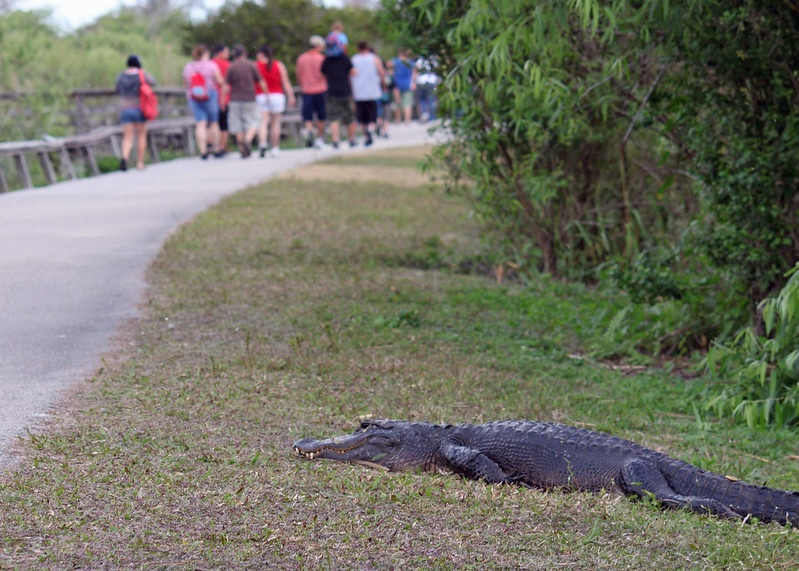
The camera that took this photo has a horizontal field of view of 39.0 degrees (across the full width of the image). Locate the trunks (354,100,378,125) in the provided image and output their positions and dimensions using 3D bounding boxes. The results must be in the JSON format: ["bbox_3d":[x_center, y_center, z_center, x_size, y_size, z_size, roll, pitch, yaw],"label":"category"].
[{"bbox_3d":[-0.283,-1.438,9.408,0.136,0.233,0.086,-2,43,-4],"label":"trunks"}]

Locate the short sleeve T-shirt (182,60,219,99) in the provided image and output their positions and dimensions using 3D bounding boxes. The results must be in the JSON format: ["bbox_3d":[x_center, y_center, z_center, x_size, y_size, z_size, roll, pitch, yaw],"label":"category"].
[{"bbox_3d":[-1.562,-1.626,9.106,0.214,0.324,0.154,-5,-18,8],"label":"short sleeve T-shirt"}]

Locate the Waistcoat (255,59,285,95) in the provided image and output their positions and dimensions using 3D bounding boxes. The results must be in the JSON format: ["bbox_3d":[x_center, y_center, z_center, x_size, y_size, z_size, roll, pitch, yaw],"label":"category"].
[{"bbox_3d":[-1.048,-1.661,9.309,0.246,0.437,0.204,-4,3,-12],"label":"Waistcoat"}]

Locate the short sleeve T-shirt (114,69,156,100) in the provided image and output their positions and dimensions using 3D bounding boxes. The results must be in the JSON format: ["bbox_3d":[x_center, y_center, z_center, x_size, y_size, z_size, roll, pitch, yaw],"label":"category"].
[{"bbox_3d":[-2.048,-1.547,8.800,0.217,0.254,0.133,18,-9,-42],"label":"short sleeve T-shirt"}]

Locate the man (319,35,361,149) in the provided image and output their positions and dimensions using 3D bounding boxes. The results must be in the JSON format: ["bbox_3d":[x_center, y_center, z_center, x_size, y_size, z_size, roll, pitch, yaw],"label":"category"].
[{"bbox_3d":[-0.454,-1.550,9.375,0.226,0.949,0.267,-10,-15,25],"label":"man"}]

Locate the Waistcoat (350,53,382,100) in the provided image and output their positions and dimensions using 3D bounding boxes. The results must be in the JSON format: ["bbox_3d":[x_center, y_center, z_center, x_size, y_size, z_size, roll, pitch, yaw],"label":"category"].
[{"bbox_3d":[-0.268,-1.685,9.375,0.259,0.488,0.230,-2,-19,0],"label":"Waistcoat"}]

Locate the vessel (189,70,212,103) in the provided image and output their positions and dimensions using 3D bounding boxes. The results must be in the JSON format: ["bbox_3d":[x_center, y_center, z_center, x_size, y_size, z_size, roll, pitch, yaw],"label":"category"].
[{"bbox_3d":[-1.607,-1.580,8.999,0.115,0.226,0.062,-2,9,2],"label":"vessel"}]

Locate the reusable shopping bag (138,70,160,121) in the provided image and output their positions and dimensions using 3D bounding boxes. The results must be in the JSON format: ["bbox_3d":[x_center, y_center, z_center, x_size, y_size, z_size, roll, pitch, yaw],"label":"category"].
[{"bbox_3d":[-1.978,-1.490,8.881,0.109,0.400,0.123,-11,9,-42],"label":"reusable shopping bag"}]

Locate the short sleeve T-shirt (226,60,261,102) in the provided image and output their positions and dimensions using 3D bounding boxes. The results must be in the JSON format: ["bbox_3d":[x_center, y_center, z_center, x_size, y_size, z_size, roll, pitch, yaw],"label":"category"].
[{"bbox_3d":[-1.262,-1.618,9.213,0.290,0.418,0.208,-3,-25,-7],"label":"short sleeve T-shirt"}]

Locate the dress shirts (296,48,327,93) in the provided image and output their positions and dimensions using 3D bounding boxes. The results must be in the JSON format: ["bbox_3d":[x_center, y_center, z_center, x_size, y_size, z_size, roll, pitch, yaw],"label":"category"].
[{"bbox_3d":[-0.710,-1.782,9.259,0.248,0.381,0.203,-3,40,-6],"label":"dress shirts"}]

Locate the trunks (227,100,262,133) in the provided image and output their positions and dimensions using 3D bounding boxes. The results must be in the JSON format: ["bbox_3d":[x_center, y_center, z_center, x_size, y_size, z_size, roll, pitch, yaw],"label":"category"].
[{"bbox_3d":[-1.264,-1.385,9.285,0.290,0.388,0.200,-2,10,-11],"label":"trunks"}]

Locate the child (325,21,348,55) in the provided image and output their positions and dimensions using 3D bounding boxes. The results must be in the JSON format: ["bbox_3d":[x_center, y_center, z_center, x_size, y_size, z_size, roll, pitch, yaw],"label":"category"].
[{"bbox_3d":[-0.506,-1.978,9.205,0.148,0.274,0.098,0,-4,6],"label":"child"}]

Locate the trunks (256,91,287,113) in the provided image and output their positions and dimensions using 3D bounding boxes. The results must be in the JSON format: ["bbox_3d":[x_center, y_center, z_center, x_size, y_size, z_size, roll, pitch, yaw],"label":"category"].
[{"bbox_3d":[-1.040,-1.482,9.247,0.177,0.166,0.154,1,31,-7],"label":"trunks"}]

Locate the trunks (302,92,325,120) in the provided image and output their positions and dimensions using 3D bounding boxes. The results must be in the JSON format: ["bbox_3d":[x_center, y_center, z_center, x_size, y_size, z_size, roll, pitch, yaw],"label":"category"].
[{"bbox_3d":[-0.703,-1.479,9.322,0.138,0.237,0.091,2,43,-2],"label":"trunks"}]

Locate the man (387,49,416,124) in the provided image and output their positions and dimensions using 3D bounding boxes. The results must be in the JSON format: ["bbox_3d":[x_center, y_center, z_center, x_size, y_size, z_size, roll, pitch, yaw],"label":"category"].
[{"bbox_3d":[0.030,-1.663,9.668,0.189,0.712,0.198,2,-18,-3],"label":"man"}]

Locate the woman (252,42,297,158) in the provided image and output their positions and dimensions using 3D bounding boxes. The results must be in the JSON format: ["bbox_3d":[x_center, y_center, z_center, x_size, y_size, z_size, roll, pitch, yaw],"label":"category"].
[{"bbox_3d":[-1.048,-1.468,9.356,0.348,1.037,0.355,-4,-22,3],"label":"woman"}]
